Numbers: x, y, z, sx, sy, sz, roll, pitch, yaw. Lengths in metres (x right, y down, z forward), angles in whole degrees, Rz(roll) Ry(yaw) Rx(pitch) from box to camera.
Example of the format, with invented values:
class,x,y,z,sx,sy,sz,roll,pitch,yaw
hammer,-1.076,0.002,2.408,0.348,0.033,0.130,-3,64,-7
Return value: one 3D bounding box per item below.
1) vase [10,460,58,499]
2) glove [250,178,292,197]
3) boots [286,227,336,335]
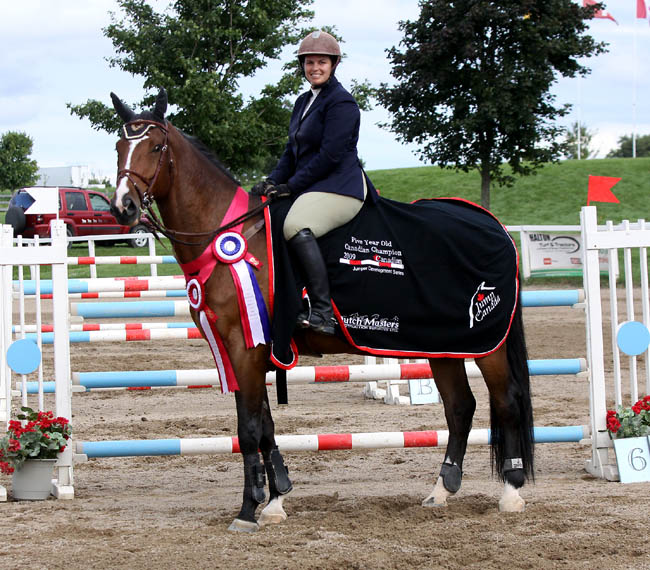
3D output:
class,x,y,z,sx,sy,sz,roll,pitch,yaw
vase,-2.402,1.589,9.260,0.385,0.252,0.358,3,-5,-8
glove,-0.436,-0.751,8.858,0.255,0.092,0.136,13,45,30
boots,-0.095,-0.024,8.602,0.342,0.783,0.210,0,9,2
